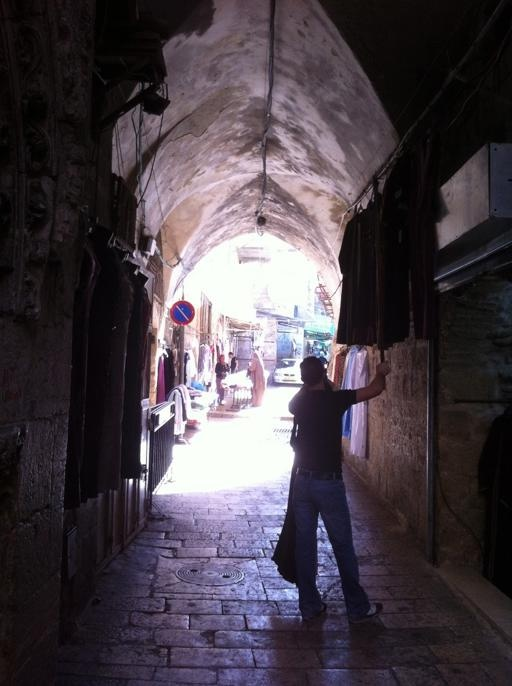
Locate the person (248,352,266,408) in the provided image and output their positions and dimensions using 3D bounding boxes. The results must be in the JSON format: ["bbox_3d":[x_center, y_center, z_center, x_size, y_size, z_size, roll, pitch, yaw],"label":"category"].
[{"bbox_3d":[0.025,1.295,18.214,0.534,1.962,1.474,1,-3,-2],"label":"person"}]

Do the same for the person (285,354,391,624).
[{"bbox_3d":[0.488,0.917,3.298,0.556,1.638,0.309,1,-3,3],"label":"person"}]
